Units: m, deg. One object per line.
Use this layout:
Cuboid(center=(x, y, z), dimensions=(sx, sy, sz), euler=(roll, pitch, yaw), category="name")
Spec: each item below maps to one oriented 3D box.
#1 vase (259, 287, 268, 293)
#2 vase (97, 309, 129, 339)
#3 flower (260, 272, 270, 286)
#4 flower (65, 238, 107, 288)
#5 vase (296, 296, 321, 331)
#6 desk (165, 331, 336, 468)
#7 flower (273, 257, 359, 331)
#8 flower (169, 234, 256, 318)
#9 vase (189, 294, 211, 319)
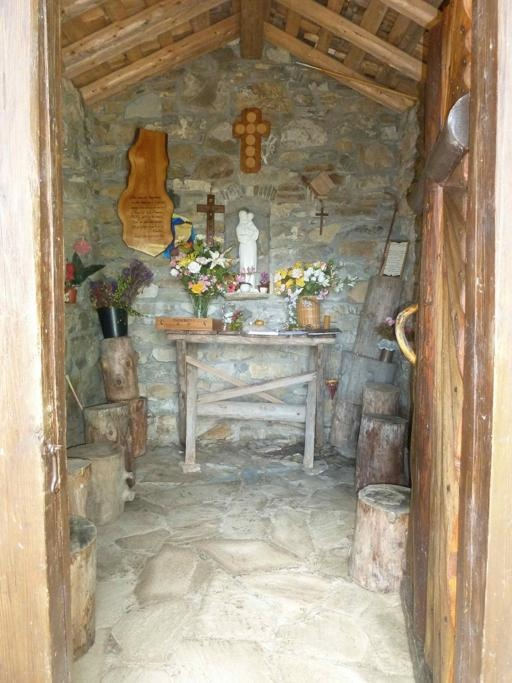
Cuboid(center=(0.051, -0.397, 4.228), dimensions=(0.053, 0.040, 0.074), euler=(-1, -4, 2), category="vase")
Cuboid(center=(-1.063, -0.136, 3.949), dimensions=(0.206, 0.227, 0.243), euler=(-1, 6, -17), category="vase")
Cuboid(center=(0.066, -0.492, 4.202), dimensions=(0.098, 0.095, 0.096), euler=(0, 6, -16), category="flower")
Cuboid(center=(-1.193, -0.549, 3.758), dimensions=(0.189, 0.352, 0.646), euler=(0, 5, -6), category="flower")
Cuboid(center=(0.351, -0.209, 3.937), dimensions=(0.218, 0.332, 0.228), euler=(1, 5, 2), category="vase")
Cuboid(center=(-0.030, 0.392, 3.947), dimensions=(1.097, 0.945, 0.373), euler=(3, 7, 0), category="desk")
Cuboid(center=(0.439, -0.293, 4.130), dimensions=(0.587, 0.533, 0.579), euler=(-1, -7, -8), category="flower")
Cuboid(center=(-0.368, -0.501, 4.127), dimensions=(0.599, 0.623, 0.443), euler=(-1, 6, -19), category="flower")
Cuboid(center=(-0.432, -0.274, 4.107), dimensions=(0.162, 0.179, 0.169), euler=(2, 3, -6), category="vase")
